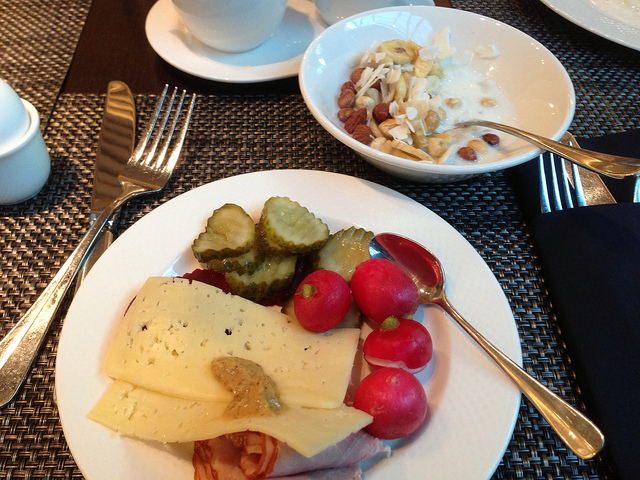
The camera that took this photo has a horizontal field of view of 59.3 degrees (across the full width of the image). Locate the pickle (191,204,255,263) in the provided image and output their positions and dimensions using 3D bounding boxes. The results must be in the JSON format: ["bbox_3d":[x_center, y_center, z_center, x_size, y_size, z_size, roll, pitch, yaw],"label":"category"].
[{"bbox_3d":[-0.207,-0.029,1.313,0.121,0.111,0.164,-16,35,-28],"label":"pickle"}]

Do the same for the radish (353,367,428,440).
[{"bbox_3d":[0.148,0.329,1.166,0.157,0.144,0.163,14,4,28],"label":"radish"}]

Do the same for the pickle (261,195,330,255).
[{"bbox_3d":[-0.051,-0.026,1.254,0.111,0.149,0.040,-41,-12,-33],"label":"pickle"}]

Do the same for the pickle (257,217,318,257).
[{"bbox_3d":[-0.075,-0.005,1.253,0.092,0.031,0.073,13,31,23],"label":"pickle"}]

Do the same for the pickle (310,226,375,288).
[{"bbox_3d":[0.061,0.031,1.296,0.135,0.132,0.044,-24,-27,-20],"label":"pickle"}]
